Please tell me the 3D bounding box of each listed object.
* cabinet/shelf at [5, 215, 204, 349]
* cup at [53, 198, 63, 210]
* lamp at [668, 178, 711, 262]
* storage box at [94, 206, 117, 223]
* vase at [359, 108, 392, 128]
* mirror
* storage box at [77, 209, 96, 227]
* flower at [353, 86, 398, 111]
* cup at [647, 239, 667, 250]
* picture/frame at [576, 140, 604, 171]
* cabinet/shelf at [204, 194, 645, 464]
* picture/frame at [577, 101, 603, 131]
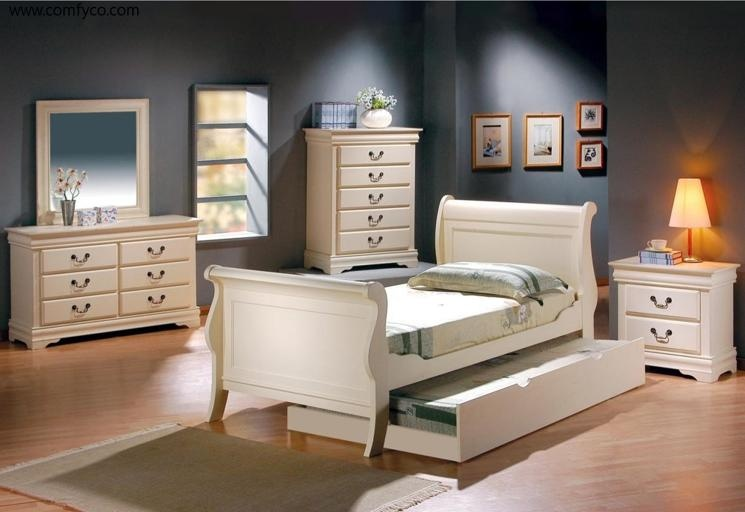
[{"bbox_3d":[-2.350,0.227,5.135,1.159,0.699,0.403,-4,6,-38],"label":"cabinet/shelf"},{"bbox_3d":[-2.731,-0.448,5.225,0.116,0.118,0.109,-1,-2,0],"label":"cup"},{"bbox_3d":[2.311,-0.262,4.360,0.254,0.596,0.290,4,10,29],"label":"lamp"},{"bbox_3d":[-2.324,-0.352,5.277,0.128,0.197,0.230,3,5,45],"label":"storage box"},{"bbox_3d":[0.042,-1.425,6.262,0.246,0.115,0.235,-1,6,12],"label":"vase"},{"bbox_3d":[-2.521,-0.855,5.342,1.205,1.230,0.067,-4,7,-34],"label":"mirror"},{"bbox_3d":[-2.452,-0.325,5.183,0.090,0.141,0.156,2,3,41],"label":"storage box"},{"bbox_3d":[0.045,-1.644,6.447,0.359,0.242,0.412,1,4,2],"label":"flower"},{"bbox_3d":[2.102,-0.084,4.437,0.123,0.052,0.094,-2,1,23],"label":"cup"},{"bbox_3d":[2.459,-1.155,6.824,0.382,0.348,0.040,-1,3,-18],"label":"picture/frame"},{"bbox_3d":[0.502,0.424,3.678,1.864,1.134,2.012,5,10,42],"label":"cabinet/shelf"},{"bbox_3d":[2.445,-1.586,6.792,0.373,0.339,0.037,-1,0,-19],"label":"picture/frame"}]
